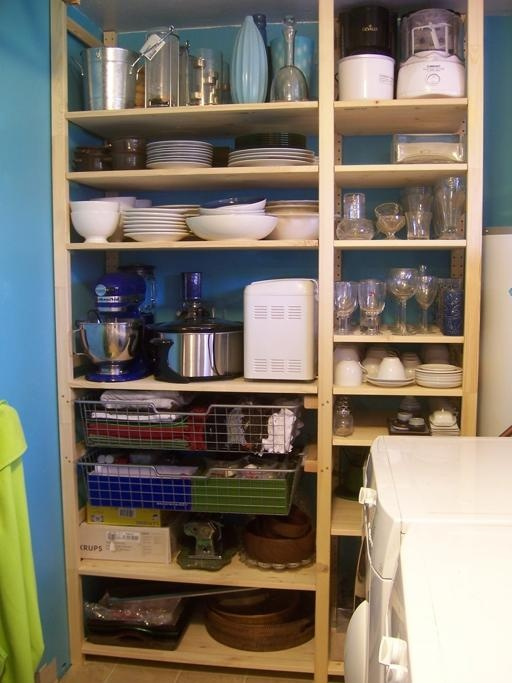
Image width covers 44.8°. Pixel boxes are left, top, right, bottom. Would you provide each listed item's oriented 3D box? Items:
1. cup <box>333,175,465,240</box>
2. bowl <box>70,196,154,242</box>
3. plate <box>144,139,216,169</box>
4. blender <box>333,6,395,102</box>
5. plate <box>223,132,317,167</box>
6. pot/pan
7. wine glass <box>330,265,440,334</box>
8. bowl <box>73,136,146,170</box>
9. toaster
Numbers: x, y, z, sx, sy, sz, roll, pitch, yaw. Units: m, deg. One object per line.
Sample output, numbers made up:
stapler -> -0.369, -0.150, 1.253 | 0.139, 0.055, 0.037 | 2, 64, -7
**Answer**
cup -> 0.375, -0.368, 1.762 | 0.411, 0.164, 0.135 | 5, 6, 42
bowl -> -0.438, -0.347, 1.802 | 0.132, 0.092, 0.187 | 1, 8, 9
plate -> -0.218, -0.520, 1.741 | 0.187, 0.084, 0.123 | -5, 8, -8
blender -> 0.286, -0.753, 1.616 | 0.148, 0.286, 0.174 | -2, 8, 13
plate -> 0.040, -0.518, 1.689 | 0.233, 0.102, 0.157 | -3, 8, 1
pot/pan -> -0.164, 0.008, 1.784 | 0.253, 0.225, 0.257 | -14, -14, 37
wine glass -> 0.333, -0.115, 1.733 | 0.295, 0.188, 0.193 | 1, 3, 0
bowl -> -0.432, -0.528, 1.779 | 0.160, 0.058, 0.104 | 3, 11, 15
toaster -> 0.057, -0.033, 1.616 | 0.252, 0.341, 0.243 | 0, 1, 5
